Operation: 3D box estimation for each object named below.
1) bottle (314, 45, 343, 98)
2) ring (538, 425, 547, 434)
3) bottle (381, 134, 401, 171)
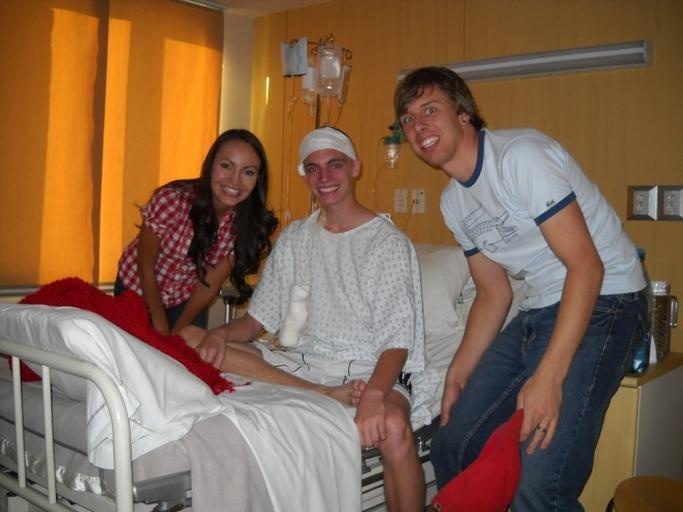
[{"bbox_3d":[-0.079,-1.233,3.684,0.183,0.235,0.185,2,50,-3],"label":"bottle"},{"bbox_3d":[0.598,0.515,1.742,0.029,0.019,0.005,4,5,7],"label":"ring"},{"bbox_3d":[0.329,-0.670,3.792,0.124,0.218,0.133,0,2,0],"label":"bottle"}]
